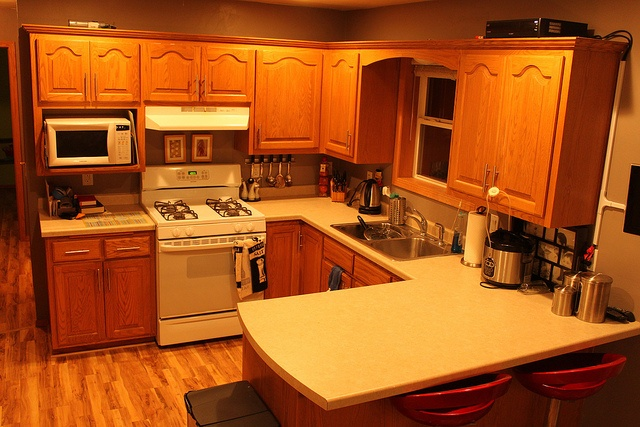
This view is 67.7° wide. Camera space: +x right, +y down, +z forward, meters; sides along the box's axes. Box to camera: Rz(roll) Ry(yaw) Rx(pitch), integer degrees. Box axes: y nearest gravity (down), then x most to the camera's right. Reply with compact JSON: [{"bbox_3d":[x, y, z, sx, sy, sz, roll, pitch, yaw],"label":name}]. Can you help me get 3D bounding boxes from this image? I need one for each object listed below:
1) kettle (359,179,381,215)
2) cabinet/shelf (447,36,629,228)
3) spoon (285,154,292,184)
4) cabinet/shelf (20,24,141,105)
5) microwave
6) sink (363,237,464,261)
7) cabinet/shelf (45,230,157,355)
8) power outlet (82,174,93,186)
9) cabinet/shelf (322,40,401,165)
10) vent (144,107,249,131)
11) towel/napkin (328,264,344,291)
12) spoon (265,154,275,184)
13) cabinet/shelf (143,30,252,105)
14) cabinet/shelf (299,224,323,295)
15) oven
[{"bbox_3d":[0.524,-0.170,4.899,0.254,0.331,0.333,4,16,11],"label":"kettle"},{"bbox_3d":[1.526,-0.571,3.231,0.673,1.288,1.223,-3,13,-21],"label":"cabinet/shelf"},{"bbox_3d":[-0.366,-0.490,5.468,0.085,0.367,0.091,0,15,11],"label":"spoon"},{"bbox_3d":[-2.246,-1.303,4.593,1.177,0.799,0.584,-4,16,-25],"label":"cabinet/shelf"},{"bbox_3d":[-2.122,-0.637,4.332,0.761,0.375,0.451,-4,14,-23],"label":"microwave"},{"bbox_3d":[0.787,0.307,4.193,0.537,0.210,0.529,-4,15,-29],"label":"sink"},{"bbox_3d":[-2.186,0.529,4.756,1.006,1.259,0.798,-4,15,-25],"label":"cabinet/shelf"},{"bbox_3d":[-2.319,-0.341,4.716,0.116,0.127,0.018,-2,31,-15],"label":"power outlet"},{"bbox_3d":[0.338,-1.108,4.861,0.481,1.116,0.904,-5,16,-27],"label":"cabinet/shelf"},{"bbox_3d":[-1.192,-0.937,4.649,1.000,0.261,0.212,-5,14,-10],"label":"vent"},{"bbox_3d":[0.153,0.585,4.380,0.050,0.317,0.179,-1,18,-31],"label":"towel/napkin"},{"bbox_3d":[-0.565,-0.484,5.386,0.105,0.352,0.050,-13,18,-34],"label":"spoon"},{"bbox_3d":[-1.209,-1.392,4.554,0.781,0.410,0.248,-3,13,-21],"label":"cabinet/shelf"},{"bbox_3d":[-0.099,0.497,4.814,0.104,0.757,0.400,-11,17,-29],"label":"cabinet/shelf"},{"bbox_3d":[-1.190,0.590,5.158,1.152,1.075,1.106,-3,15,-25],"label":"oven"}]
